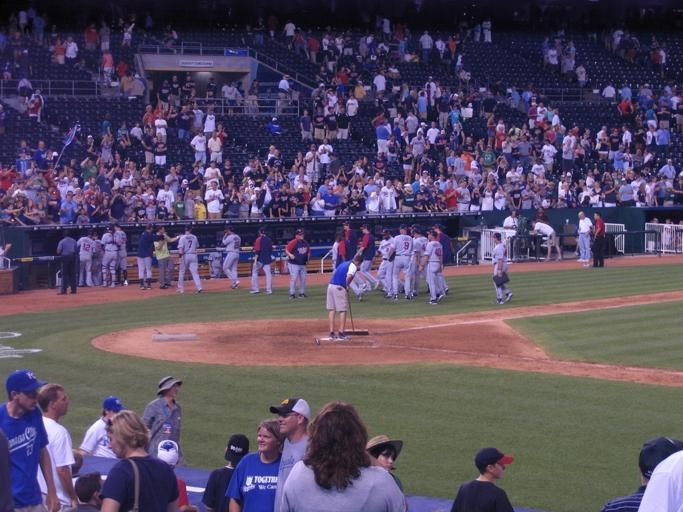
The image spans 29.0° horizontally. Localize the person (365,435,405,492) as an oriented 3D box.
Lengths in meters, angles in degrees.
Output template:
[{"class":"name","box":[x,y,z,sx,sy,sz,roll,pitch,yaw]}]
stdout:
[{"class":"person","box":[0.960,4.296,28.580,1.098,0.471,0.789,-12,-26,-9]}]
